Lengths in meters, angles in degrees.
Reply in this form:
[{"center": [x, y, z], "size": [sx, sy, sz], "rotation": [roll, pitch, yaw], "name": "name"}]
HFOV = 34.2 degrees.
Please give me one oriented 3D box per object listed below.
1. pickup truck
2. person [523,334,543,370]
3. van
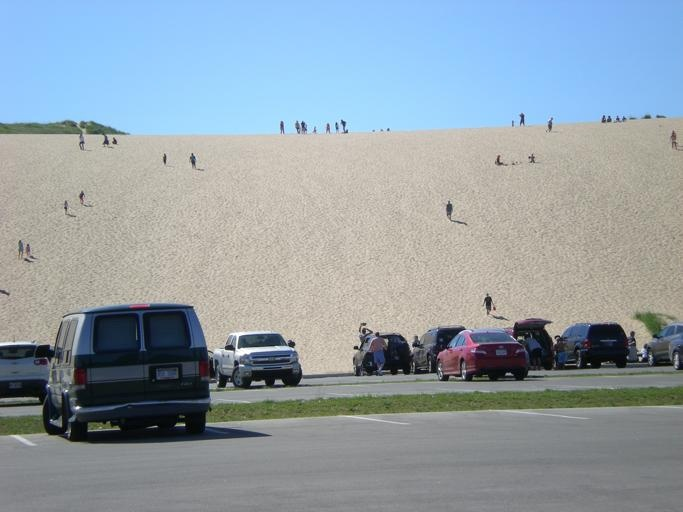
[{"center": [-2.882, 3.296, 34.943], "size": [1.611, 1.018, 2.780], "rotation": [2, -9, -21], "name": "pickup truck"}, {"center": [6.660, 3.468, 38.566], "size": [0.519, 1.131, 1.350], "rotation": [-1, 15, -4], "name": "person"}, {"center": [-4.188, 2.271, 22.064], "size": [2.246, 1.673, 3.618], "rotation": [2, -3, -21], "name": "van"}]
